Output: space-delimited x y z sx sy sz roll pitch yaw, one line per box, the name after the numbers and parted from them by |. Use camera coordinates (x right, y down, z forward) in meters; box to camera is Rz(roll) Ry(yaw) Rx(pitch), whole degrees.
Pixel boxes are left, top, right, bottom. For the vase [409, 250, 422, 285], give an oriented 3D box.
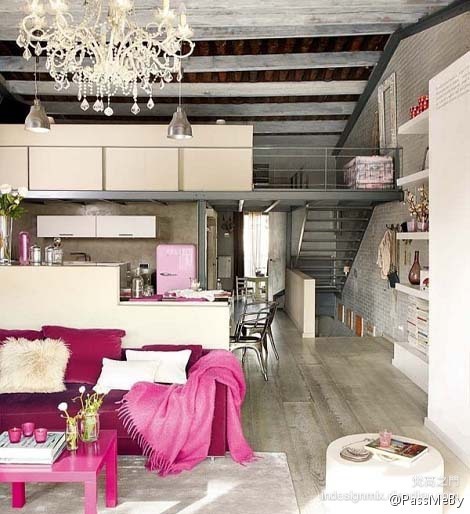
2.136 0.142 5.726 0.117 0.411 0.312 2 1 12 | vase

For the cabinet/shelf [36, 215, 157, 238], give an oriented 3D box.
-2.438 -0.542 8.544 2.079 0.404 0.192 1 2 5 | cabinet/shelf

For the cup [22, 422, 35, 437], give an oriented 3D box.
-1.238 1.033 2.910 0.068 0.062 0.074 2 4 0 | cup

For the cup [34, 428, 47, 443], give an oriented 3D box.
-1.143 1.059 2.866 0.070 0.059 0.079 0 -5 5 | cup

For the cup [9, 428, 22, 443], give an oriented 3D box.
-1.286 1.050 2.849 0.062 0.070 0.081 0 -7 -2 | cup

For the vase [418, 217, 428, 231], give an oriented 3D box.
2.135 -0.369 5.529 0.083 0.179 0.315 2 1 10 | vase

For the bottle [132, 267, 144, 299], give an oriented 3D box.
-0.989 0.261 4.944 0.115 0.293 0.398 1 1 -11 | bottle
